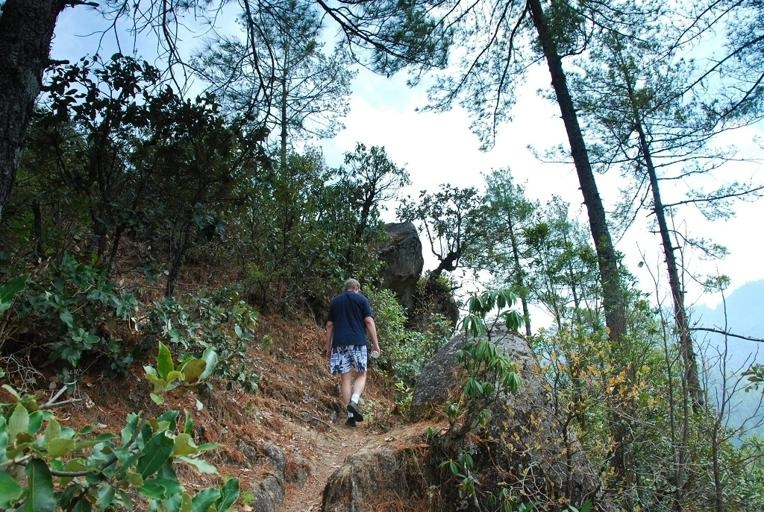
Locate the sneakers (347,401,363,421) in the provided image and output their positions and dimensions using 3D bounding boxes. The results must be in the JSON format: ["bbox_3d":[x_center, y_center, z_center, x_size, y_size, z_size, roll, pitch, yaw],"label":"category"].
[{"bbox_3d":[-0.469,2.668,9.632,0.168,0.231,0.553,-10,-56,6],"label":"sneakers"}]

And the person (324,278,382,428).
[{"bbox_3d":[-0.554,1.561,9.871,0.909,2.386,0.495,8,-18,-6],"label":"person"}]
